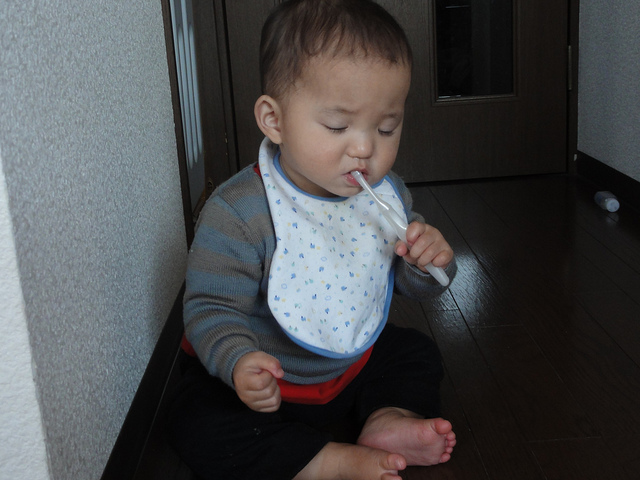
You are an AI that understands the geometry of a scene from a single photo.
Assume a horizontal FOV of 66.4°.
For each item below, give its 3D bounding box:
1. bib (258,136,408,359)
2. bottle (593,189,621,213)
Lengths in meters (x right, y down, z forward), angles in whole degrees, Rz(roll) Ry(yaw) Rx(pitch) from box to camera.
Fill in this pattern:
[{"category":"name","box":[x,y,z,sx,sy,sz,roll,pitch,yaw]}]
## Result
[{"category":"bib","box":[-0.005,0.050,0.893,0.214,0.417,0.251,1,22,-6]},{"category":"bottle","box":[1.016,-0.136,1.728,0.057,0.064,0.097,-6,27,0]}]
